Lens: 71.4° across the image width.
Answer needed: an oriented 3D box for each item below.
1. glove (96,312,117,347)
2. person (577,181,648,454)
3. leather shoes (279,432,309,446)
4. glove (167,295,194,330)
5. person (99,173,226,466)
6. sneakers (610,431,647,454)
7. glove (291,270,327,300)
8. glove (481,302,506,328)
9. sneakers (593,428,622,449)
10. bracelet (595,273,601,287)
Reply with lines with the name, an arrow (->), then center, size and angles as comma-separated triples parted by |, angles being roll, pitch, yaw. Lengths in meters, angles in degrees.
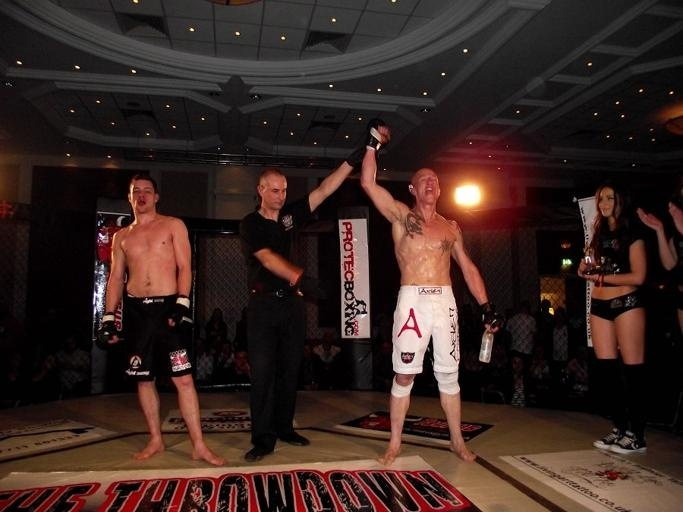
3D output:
glove -> -2.326, 0.707, 4.706 | 0.125, 0.344, 0.215 | -24, -53, 5
person -> 2.724, 0.573, 4.813 | 0.513, 2.616, 0.560 | 3, -5, -36
leather shoes -> -0.464, 1.810, 4.714 | 0.299, 0.118, 0.109 | -2, -12, 25
glove -> -1.502, 0.509, 4.453 | 0.210, 0.292, 0.188 | 1, -3, -14
person -> -1.686, 0.524, 4.549 | 1.000, 2.658, 0.340 | -1, -4, 14
sneakers -> 2.723, 1.779, 4.538 | 0.332, 0.189, 0.113 | 0, -3, 3
glove -> -0.320, 0.296, 4.667 | 0.393, 0.226, 0.164 | 26, -22, -25
glove -> 1.428, 0.583, 4.607 | 0.179, 0.235, 0.106 | 0, -36, -8
sneakers -> 2.576, 1.790, 4.649 | 0.358, 0.147, 0.117 | 8, -7, -27
bracelet -> 2.621, 0.255, 4.875 | 0.041, 0.109, 0.082 | -4, 4, -3
